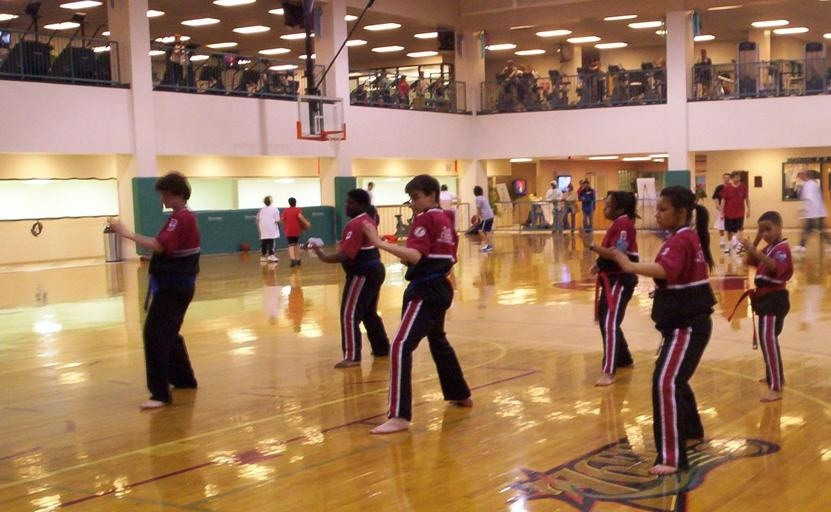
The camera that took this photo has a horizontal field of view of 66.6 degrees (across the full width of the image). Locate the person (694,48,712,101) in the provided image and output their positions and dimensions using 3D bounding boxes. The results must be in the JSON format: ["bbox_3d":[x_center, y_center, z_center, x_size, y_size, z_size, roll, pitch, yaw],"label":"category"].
[{"bbox_3d":[11.944,-7.490,26.154,0.734,2.061,1.079,1,8,23],"label":"person"}]

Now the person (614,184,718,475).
[{"bbox_3d":[2.161,0.582,5.306,0.581,2.299,1.038,3,9,35],"label":"person"}]

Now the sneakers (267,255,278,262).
[{"bbox_3d":[-4.393,0.086,19.514,0.179,0.219,0.515,-3,-4,-28],"label":"sneakers"}]

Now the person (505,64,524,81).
[{"bbox_3d":[4.676,-8.554,29.500,0.769,0.912,1.621,-1,7,8],"label":"person"}]

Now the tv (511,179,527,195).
[{"bbox_3d":[5.416,-3.541,32.823,0.854,0.786,0.465,-1,-2,3],"label":"tv"}]

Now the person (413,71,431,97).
[{"bbox_3d":[0.311,-7.469,27.743,0.260,1.045,1.069,4,9,38],"label":"person"}]

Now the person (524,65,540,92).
[{"bbox_3d":[5.122,-7.949,28.599,0.448,1.205,0.916,-17,-20,36],"label":"person"}]

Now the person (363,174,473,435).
[{"bbox_3d":[0.042,0.433,6.220,0.612,2.424,1.114,2,8,28],"label":"person"}]

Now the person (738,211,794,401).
[{"bbox_3d":[3.709,0.502,6.644,0.422,1.927,1.458,2,8,31],"label":"person"}]

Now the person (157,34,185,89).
[{"bbox_3d":[-8.112,-6.658,21.422,1.113,1.403,1.090,10,25,-15],"label":"person"}]

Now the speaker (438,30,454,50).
[{"bbox_3d":[1.438,-9.832,28.976,0.798,0.860,0.779,-4,13,-16],"label":"speaker"}]

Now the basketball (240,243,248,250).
[{"bbox_3d":[-6.265,-0.345,23.173,0.243,0.230,0.243,-1,-1,9],"label":"basketball"}]

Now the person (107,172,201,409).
[{"bbox_3d":[-2.749,0.364,6.882,0.805,2.523,1.036,-4,7,-18],"label":"person"}]

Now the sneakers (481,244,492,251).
[{"bbox_3d":[2.360,-0.267,20.714,0.295,0.215,0.405,-1,7,6],"label":"sneakers"}]
